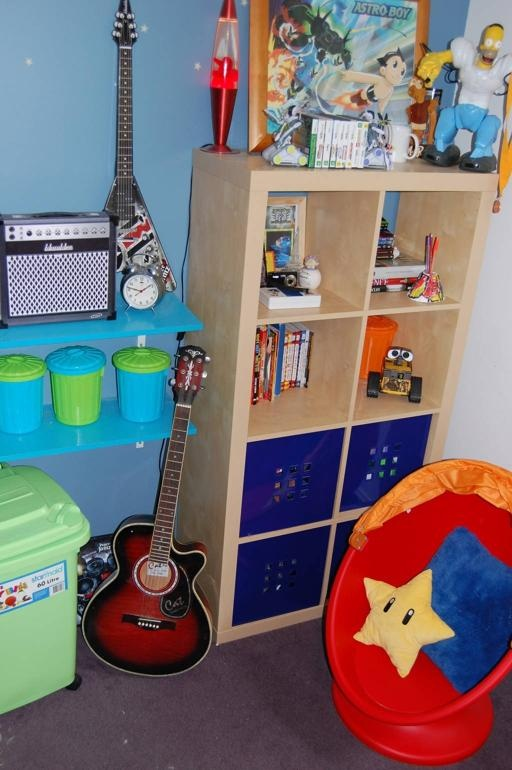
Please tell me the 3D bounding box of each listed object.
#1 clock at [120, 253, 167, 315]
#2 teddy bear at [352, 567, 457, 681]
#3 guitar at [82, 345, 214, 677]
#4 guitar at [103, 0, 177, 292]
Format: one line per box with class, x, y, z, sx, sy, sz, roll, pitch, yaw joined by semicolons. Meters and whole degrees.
clock;-0.292;-0.257;1.457;0.120;0.181;0.081;3;27;-11
teddy bear;0.389;0.634;1.548;0.236;0.082;0.260;-20;46;17
guitar;-0.255;0.364;1.548;0.347;0.978;0.091;9;18;-7
guitar;-0.285;-0.540;1.405;0.171;0.671;0.159;4;24;-5
